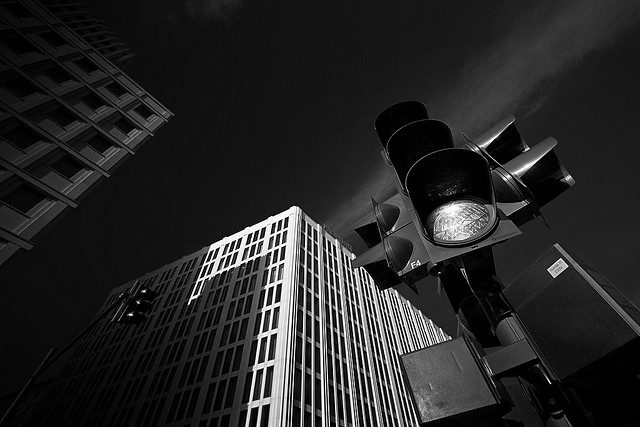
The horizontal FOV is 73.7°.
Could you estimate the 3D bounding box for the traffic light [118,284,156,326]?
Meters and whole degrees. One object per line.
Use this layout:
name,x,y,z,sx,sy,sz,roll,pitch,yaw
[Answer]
traffic light,-7.834,3.924,18.449,1.011,2.359,0.736,26,-51,-19
